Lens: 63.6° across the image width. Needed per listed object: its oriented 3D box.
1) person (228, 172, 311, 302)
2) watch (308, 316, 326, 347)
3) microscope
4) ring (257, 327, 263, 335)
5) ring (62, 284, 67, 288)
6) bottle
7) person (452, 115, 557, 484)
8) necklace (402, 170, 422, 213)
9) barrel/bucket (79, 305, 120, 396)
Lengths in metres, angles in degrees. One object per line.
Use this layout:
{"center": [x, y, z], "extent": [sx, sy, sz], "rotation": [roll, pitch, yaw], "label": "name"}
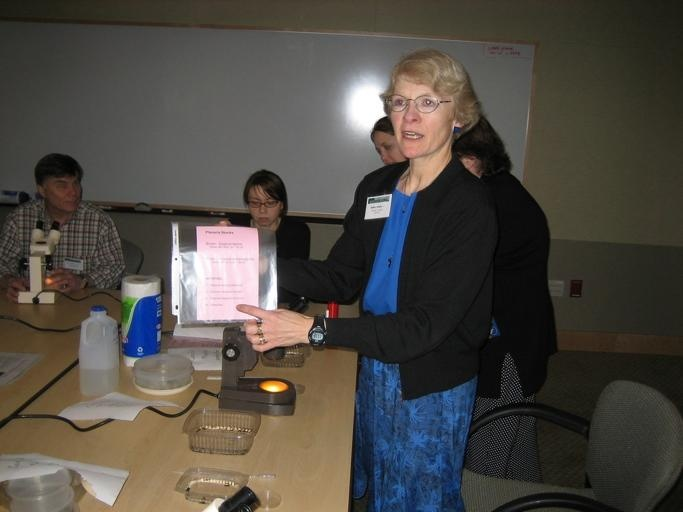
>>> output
{"center": [-0.452, -0.189, 3.653], "extent": [0.441, 0.872, 0.500], "rotation": [10, 9, 4], "label": "person"}
{"center": [-0.081, 0.265, 1.907], "extent": [0.060, 0.094, 0.091], "rotation": [5, -2, -2], "label": "watch"}
{"center": [-1.482, 0.044, 2.737], "extent": [0.174, 0.437, 0.194], "rotation": [0, 14, -19], "label": "microscope"}
{"center": [-0.278, 0.255, 1.862], "extent": [0.015, 0.023, 0.007], "rotation": [-2, 0, 1], "label": "ring"}
{"center": [-1.428, 0.154, 2.821], "extent": [0.020, 0.024, 0.021], "rotation": [1, 2, 0], "label": "ring"}
{"center": [-0.868, 0.331, 1.966], "extent": [0.122, 0.299, 0.108], "rotation": [0, 3, -7], "label": "bottle"}
{"center": [0.764, 0.187, 2.687], "extent": [0.515, 1.805, 0.570], "rotation": [7, 14, 11], "label": "person"}
{"center": [0.253, -0.227, 2.032], "extent": [0.028, 0.125, 0.085], "rotation": [5, 1, -37], "label": "necklace"}
{"center": [-0.866, 0.323, 1.961], "extent": [0.121, 0.293, 0.108], "rotation": [4, 9, -4], "label": "barrel/bucket"}
